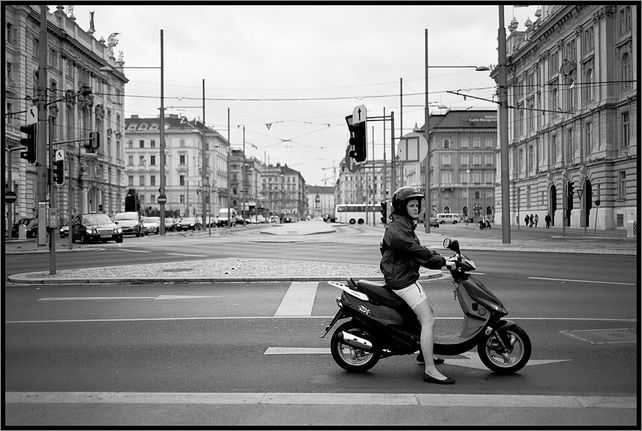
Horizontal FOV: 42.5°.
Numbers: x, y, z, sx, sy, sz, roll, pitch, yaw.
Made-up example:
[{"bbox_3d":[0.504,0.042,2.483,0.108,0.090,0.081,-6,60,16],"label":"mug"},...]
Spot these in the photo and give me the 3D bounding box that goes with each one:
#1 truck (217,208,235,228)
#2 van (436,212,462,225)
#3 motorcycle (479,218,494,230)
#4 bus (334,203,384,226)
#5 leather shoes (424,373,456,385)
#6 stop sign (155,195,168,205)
[{"bbox_3d":[-10.459,0.275,89.617,1.634,1.734,3.342,-2,-3,-2],"label":"truck"},{"bbox_3d":[15.837,0.592,102.494,2.786,1.280,1.469,-1,5,2],"label":"van"},{"bbox_3d":[14.393,0.781,71.628,1.123,1.344,2.209,0,-2,3],"label":"motorcycle"},{"bbox_3d":[4.657,0.061,108.200,6.653,2.169,2.387,-1,5,7],"label":"bus"},{"bbox_3d":[2.375,3.301,16.719,0.606,0.240,0.224,-1,-2,5],"label":"leather shoes"},{"bbox_3d":[-9.833,-0.896,50.649,0.617,0.626,0.142,0,5,-30],"label":"stop sign"}]
